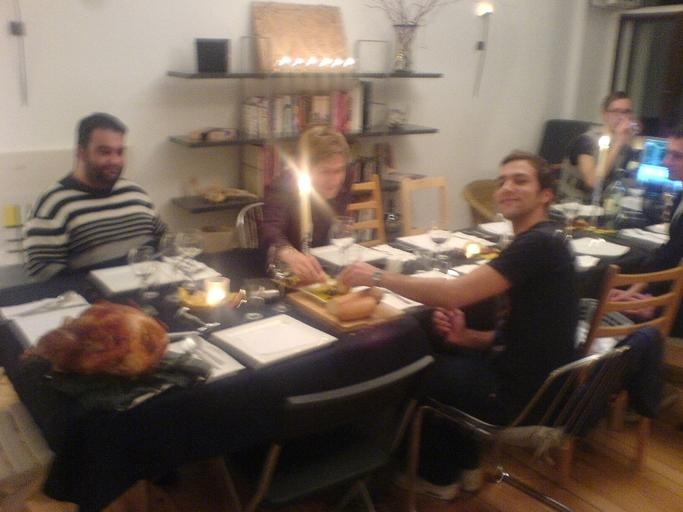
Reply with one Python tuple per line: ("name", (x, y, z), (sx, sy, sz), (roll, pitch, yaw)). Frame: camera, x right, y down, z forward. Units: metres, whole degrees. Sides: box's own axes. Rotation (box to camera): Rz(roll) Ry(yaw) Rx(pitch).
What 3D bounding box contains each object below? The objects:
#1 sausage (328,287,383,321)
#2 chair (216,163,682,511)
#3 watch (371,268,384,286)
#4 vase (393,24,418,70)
("sausage", (0.029, 0.118, 1.309), (0.075, 0.032, 0.111), (15, 20, 42))
("chair", (0.458, 0.068, 2.267), (1.279, 1.669, 0.821), (8, 13, 16))
("watch", (0.093, 0.057, 1.355), (0.041, 0.035, 0.030), (-14, 24, -42))
("vase", (0.277, -0.905, 2.308), (0.162, 0.192, 0.151), (1, 19, 2))
